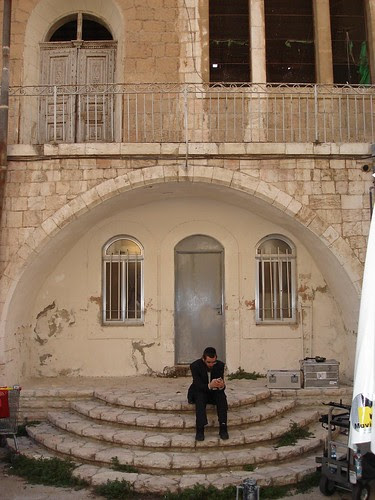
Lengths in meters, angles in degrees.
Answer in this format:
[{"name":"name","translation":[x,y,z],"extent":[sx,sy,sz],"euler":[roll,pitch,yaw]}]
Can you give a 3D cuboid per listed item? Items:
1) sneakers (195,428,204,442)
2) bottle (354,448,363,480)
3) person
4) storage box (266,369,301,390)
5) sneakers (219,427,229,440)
[{"name":"sneakers","translation":[0.157,2.328,8.788],"extent":[0.105,0.173,0.150],"euler":[-1,-8,4]},{"name":"bottle","translation":[1.862,2.322,7.529],"extent":[0.079,0.296,0.090],"euler":[-1,-8,7]},{"name":"person","translation":[0.283,1.868,9.129],"extent":[0.497,1.166,0.729],"euler":[0,-8,1]},{"name":"storage box","translation":[1.475,1.961,10.516],"extent":[0.521,0.276,0.151],"euler":[-1,-8,6]},{"name":"sneakers","translation":[0.466,2.331,8.844],"extent":[0.125,0.149,0.209],"euler":[-1,-8,3]}]
